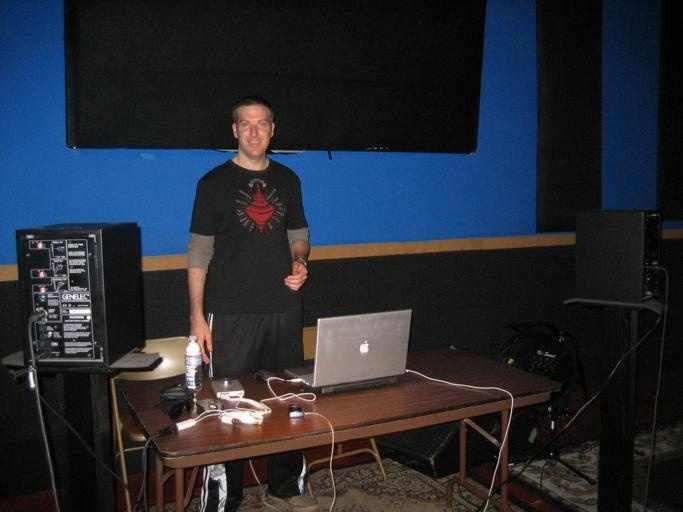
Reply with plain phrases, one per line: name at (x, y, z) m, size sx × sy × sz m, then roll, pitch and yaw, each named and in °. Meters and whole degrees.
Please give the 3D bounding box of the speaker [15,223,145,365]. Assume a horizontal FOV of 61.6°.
speaker at (-1.249, 0.137, 2.792) m, size 0.399 × 0.623 × 0.568 m, roll 3°, pitch 10°, yaw 4°

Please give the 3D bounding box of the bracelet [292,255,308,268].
bracelet at (-0.233, 0.025, 3.147) m, size 0.070 × 0.050 × 0.077 m, roll 1°, pitch -11°, yaw 26°

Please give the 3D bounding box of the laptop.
laptop at (0.074, 0.440, 2.754) m, size 0.473 × 0.361 × 0.400 m, roll -2°, pitch 9°, yaw -26°

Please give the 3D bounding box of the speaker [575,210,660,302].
speaker at (1.511, 0.013, 3.162) m, size 0.392 × 0.488 × 0.285 m, roll 3°, pitch 6°, yaw 42°

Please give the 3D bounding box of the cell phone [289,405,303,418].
cell phone at (-0.201, 0.687, 2.538) m, size 0.062 × 0.034 × 0.058 m, roll -1°, pitch 11°, yaw -6°
